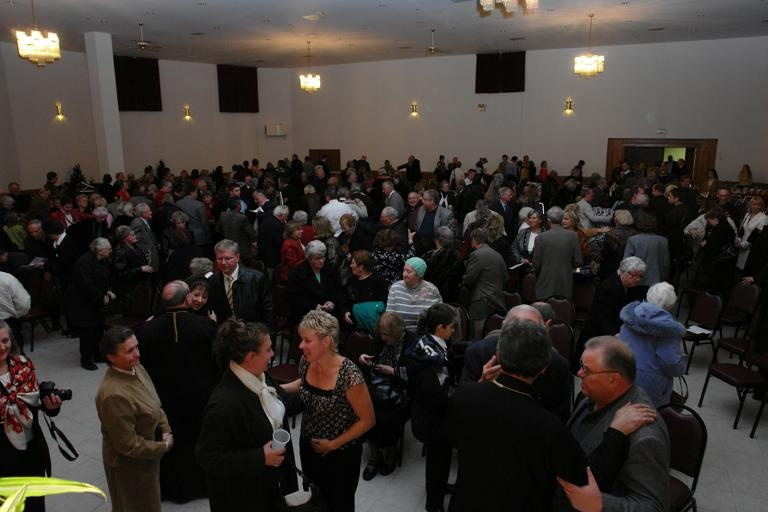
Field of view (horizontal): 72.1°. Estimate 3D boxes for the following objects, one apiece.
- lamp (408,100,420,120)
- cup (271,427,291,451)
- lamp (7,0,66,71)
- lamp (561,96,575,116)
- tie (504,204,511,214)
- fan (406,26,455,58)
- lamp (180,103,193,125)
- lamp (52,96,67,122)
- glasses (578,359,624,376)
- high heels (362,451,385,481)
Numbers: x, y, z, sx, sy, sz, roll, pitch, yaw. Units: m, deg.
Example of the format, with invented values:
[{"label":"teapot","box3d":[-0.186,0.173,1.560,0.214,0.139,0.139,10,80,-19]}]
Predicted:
[{"label":"lamp","box3d":[1.161,-5.424,19.631,0.518,0.566,0.528,8,26,14]},{"label":"cup","box3d":[-0.739,1.319,3.849,0.130,0.137,0.133,20,28,-11]},{"label":"lamp","box3d":[-6.742,-4.337,10.193,0.569,1.469,3.059,-8,16,-32]},{"label":"lamp","box3d":[6.002,-4.855,17.012,0.366,0.618,0.813,5,14,19]},{"label":"tie","box3d":[2.163,-0.821,9.166,0.135,0.127,0.032,2,-4,-34]},{"label":"fan","box3d":[1.369,-6.557,16.438,1.398,0.178,4.496,3,14,10]},{"label":"lamp","box3d":[-7.216,-5.262,19.429,0.108,0.614,0.407,8,15,32]},{"label":"lamp","box3d":[-9.937,-4.430,16.187,0.081,0.600,0.313,5,14,22]},{"label":"glasses","box3d":[1.478,0.771,3.630,0.162,0.051,0.165,7,2,11]},{"label":"high heels","box3d":[-0.098,2.118,5.362,0.119,0.144,0.338,-5,8,24]}]
